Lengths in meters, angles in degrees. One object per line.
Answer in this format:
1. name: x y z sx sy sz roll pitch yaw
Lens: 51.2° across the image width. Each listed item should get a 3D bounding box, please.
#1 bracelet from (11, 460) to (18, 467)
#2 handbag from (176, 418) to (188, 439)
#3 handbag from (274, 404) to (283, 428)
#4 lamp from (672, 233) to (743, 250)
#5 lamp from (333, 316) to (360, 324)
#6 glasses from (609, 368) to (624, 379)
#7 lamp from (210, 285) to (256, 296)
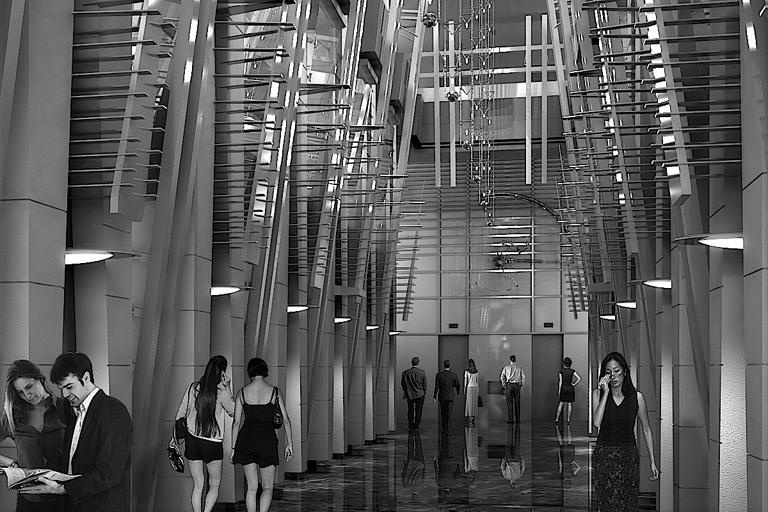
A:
1. bracelet: -2.582 1.470 5.627 0.037 0.040 0.067 -1 -23 -4
2. handbag: -2.274 1.949 9.053 0.171 0.227 0.079 8 -11 -39
3. handbag: -1.260 1.903 9.536 0.158 0.327 0.250 -1 -9 -2
4. lamp: 3.302 -0.161 8.168 0.634 0.143 0.605 -2 -9 24
5. lamp: -0.912 1.500 18.771 0.464 0.191 1.338 2 -8 0
6. glasses: 2.436 1.240 8.440 0.114 0.072 0.117 -4 -18 17
7. lamp: -2.257 0.530 11.694 0.535 0.147 0.978 3 -8 -12
